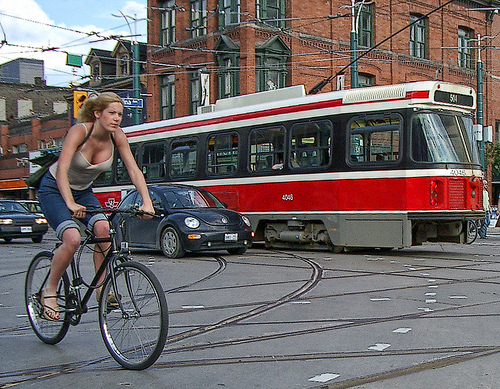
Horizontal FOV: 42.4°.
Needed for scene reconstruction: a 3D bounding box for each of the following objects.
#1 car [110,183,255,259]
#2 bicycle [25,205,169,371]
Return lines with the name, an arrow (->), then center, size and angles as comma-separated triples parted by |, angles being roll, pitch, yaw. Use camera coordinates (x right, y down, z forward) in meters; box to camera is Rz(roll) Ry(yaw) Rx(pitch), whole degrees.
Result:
car -> -1.546, 0.584, 14.545 | 1.651, 1.187, 2.721 | 4, -7, -43
bicycle -> -1.425, 0.941, 5.854 | 1.930, 1.072, 0.946 | 3, -1, 43
